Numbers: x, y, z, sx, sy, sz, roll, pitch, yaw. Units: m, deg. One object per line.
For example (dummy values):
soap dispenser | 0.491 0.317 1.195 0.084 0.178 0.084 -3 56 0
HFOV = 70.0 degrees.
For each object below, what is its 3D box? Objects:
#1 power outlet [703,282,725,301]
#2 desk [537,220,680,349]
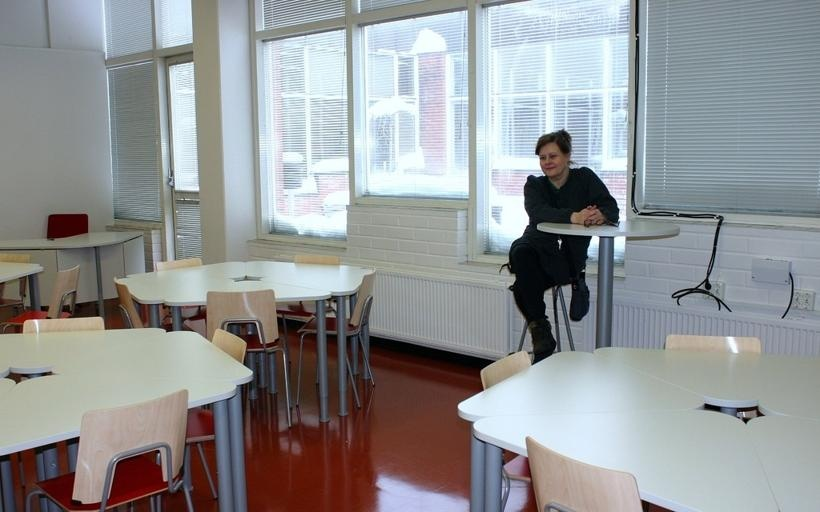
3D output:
power outlet | 2.406 0.265 4.599 0.108 0.143 0.040 4 9 24
desk | 1.339 0.239 4.299 0.954 1.033 0.946 -10 15 -39
